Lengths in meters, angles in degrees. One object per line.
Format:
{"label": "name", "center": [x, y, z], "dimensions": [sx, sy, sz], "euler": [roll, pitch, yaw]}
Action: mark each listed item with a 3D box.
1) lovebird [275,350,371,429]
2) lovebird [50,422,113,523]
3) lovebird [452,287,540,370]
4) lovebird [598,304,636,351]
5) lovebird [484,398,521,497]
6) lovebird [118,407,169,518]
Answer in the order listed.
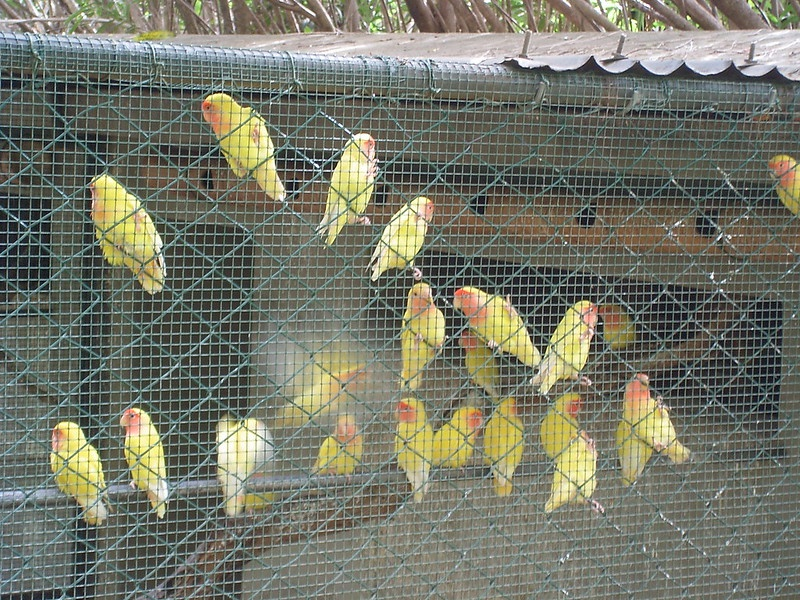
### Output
{"label": "lovebird", "center": [-0.228, 0.257, 3.266], "dimensions": [0.082, 0.117, 0.274], "euler": [38, 60, 21]}
{"label": "lovebird", "center": [-0.825, 0.428, 2.881], "dimensions": [0.167, 0.264, 0.119], "euler": [19, 31, 2]}
{"label": "lovebird", "center": [0.283, 0.073, 2.926], "dimensions": [0.139, 0.279, 0.118], "euler": [-58, 32, -8]}
{"label": "lovebird", "center": [0.678, 0.102, 3.401], "dimensions": [0.046, 0.157, 0.206], "euler": [26, 7, -8]}
{"label": "lovebird", "center": [0.284, 0.384, 3.017], "dimensions": [0.089, 0.170, 0.315], "euler": [2, 76, 6]}
{"label": "lovebird", "center": [-0.676, 0.411, 2.929], "dimensions": [0.167, 0.231, 0.098], "euler": [27, 40, 15]}
